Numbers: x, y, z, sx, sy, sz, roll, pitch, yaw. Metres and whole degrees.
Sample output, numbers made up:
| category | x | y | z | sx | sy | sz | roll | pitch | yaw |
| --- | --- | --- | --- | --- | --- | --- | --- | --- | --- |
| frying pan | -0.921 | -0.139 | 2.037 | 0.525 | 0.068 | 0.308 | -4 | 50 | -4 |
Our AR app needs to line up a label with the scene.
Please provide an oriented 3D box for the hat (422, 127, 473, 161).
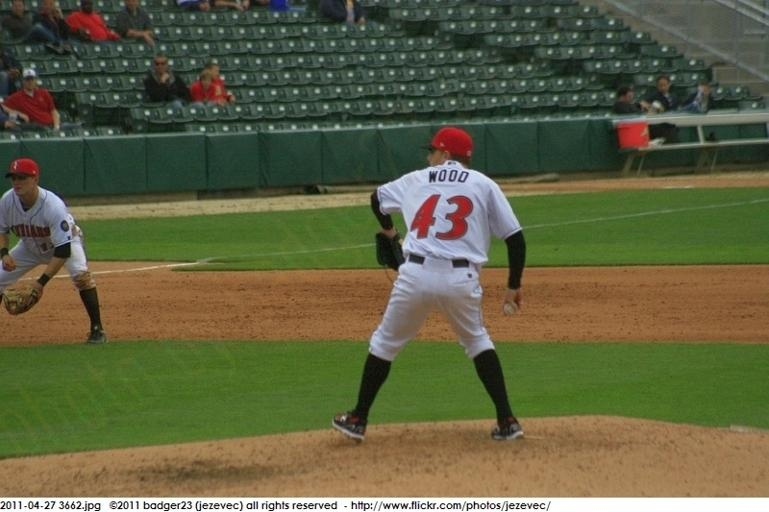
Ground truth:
| category | x | y | z | sx | sy | sz | roll | pitch | yaw |
| --- | --- | --- | --- | --- | --- | --- | --- | --- | --- |
| hat | 0.854 | -1.548 | 19.248 | 0.636 | 0.331 | 0.439 | 20 | 16 | 22 |

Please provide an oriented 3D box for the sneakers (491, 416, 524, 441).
| category | x | y | z | sx | sy | sz | roll | pitch | yaw |
| --- | --- | --- | --- | --- | --- | --- | --- | --- | --- |
| sneakers | 1.644 | 2.294 | 18.893 | 0.210 | 0.212 | 0.496 | -7 | 1 | -30 |

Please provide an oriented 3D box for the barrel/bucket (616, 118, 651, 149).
| category | x | y | z | sx | sy | sz | roll | pitch | yaw |
| --- | --- | --- | --- | --- | --- | --- | --- | --- | --- |
| barrel/bucket | 5.286 | -2.603 | 30.304 | 0.701 | 0.463 | 0.625 | -7 | 2 | -4 |

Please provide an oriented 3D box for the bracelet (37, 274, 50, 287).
| category | x | y | z | sx | sy | sz | roll | pitch | yaw |
| --- | --- | --- | --- | --- | --- | --- | --- | --- | --- |
| bracelet | -5.025 | 0.332 | 20.987 | 0.180 | 0.221 | 0.254 | -7 | 18 | -13 |

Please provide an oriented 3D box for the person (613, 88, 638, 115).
| category | x | y | z | sx | sy | sz | roll | pitch | yaw |
| --- | --- | --- | --- | --- | --- | --- | --- | --- | --- |
| person | 5.316 | -3.411 | 31.234 | 0.574 | 0.570 | 0.795 | -1 | 17 | 6 |

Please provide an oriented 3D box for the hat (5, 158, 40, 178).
| category | x | y | z | sx | sy | sz | roll | pitch | yaw |
| --- | --- | --- | --- | --- | --- | --- | --- | --- | --- |
| hat | -5.258 | -1.304 | 20.995 | 0.423 | 0.284 | 0.557 | 1 | 2 | 20 |
